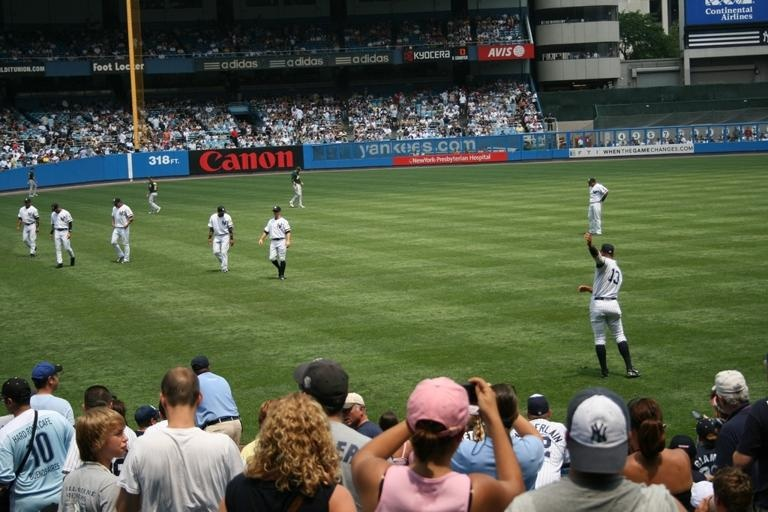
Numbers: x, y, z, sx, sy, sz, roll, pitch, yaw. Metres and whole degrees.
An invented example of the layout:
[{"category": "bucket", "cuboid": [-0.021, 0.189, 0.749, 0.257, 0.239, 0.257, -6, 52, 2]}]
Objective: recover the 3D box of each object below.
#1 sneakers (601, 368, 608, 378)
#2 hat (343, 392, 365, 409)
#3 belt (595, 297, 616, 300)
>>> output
[{"category": "sneakers", "cuboid": [5.819, 3.118, 27.725, 0.245, 0.223, 0.565, 0, -5, 10]}, {"category": "hat", "cuboid": [-0.611, 3.223, 23.270, 0.631, 0.264, 0.405, 4, -8, -24]}, {"category": "belt", "cuboid": [5.923, 1.146, 28.008, 0.518, 0.083, 0.145, -1, 1, -13]}]
